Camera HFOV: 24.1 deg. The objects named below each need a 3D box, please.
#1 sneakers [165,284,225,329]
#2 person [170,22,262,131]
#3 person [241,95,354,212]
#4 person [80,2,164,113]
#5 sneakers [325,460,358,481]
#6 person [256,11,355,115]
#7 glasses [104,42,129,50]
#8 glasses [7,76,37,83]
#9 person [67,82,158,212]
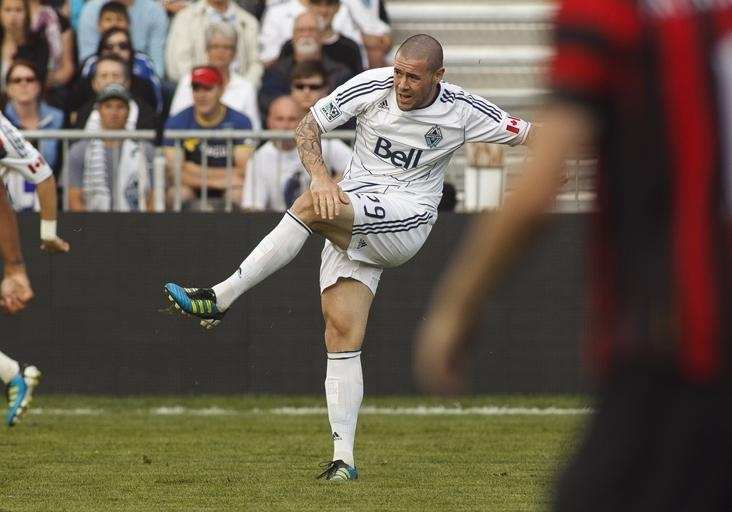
[{"bbox_3d":[-0.936,0.255,9.232,0.311,0.257,0.155,-6,17,-27],"label":"sneakers"},{"bbox_3d":[-1.028,-1.174,11.417,0.674,0.909,0.319,4,-37,-7],"label":"person"},{"bbox_3d":[-0.412,-0.591,10.391,0.718,1.148,0.427,0,-14,-7],"label":"person"},{"bbox_3d":[-1.607,-1.342,11.597,0.692,0.721,0.287,2,-7,2],"label":"person"},{"bbox_3d":[-0.130,1.149,9.163,0.155,0.067,0.088,8,-12,-36],"label":"sneakers"},{"bbox_3d":[-0.409,-1.346,11.899,0.533,0.584,0.735,-2,8,5],"label":"person"},{"bbox_3d":[-1.643,-1.383,11.291,0.185,0.068,0.091,-1,15,-12],"label":"glasses"},{"bbox_3d":[-2.273,-1.164,11.324,0.186,0.036,0.037,-1,15,-10],"label":"glasses"},{"bbox_3d":[-1.596,-0.487,10.914,0.601,1.136,0.304,-1,-9,-12],"label":"person"}]
